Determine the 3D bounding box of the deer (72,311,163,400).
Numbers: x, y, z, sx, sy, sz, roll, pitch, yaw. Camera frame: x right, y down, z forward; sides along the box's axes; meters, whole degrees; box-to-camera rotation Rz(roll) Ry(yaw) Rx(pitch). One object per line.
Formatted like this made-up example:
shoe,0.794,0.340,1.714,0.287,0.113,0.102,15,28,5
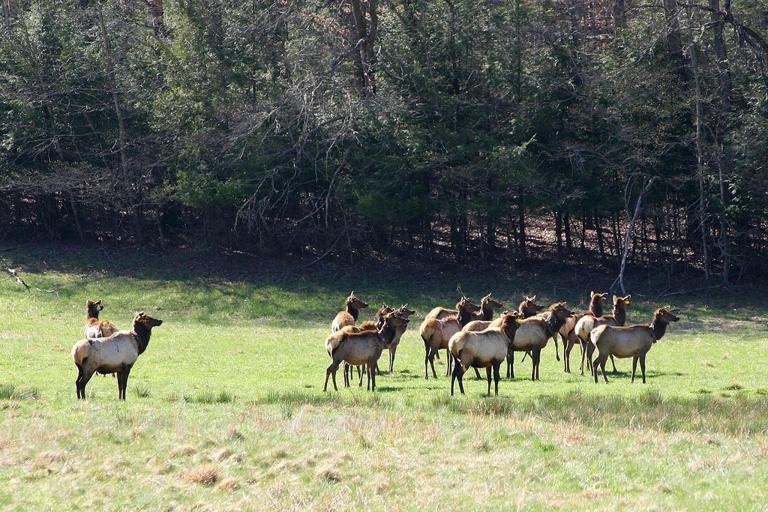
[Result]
deer,-14.544,5.679,74.077,5.332,4.584,1.830,-2,2,-39

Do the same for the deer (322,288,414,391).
deer,-1.252,5.505,76.400,2.721,4.216,5.300,3,3,41
